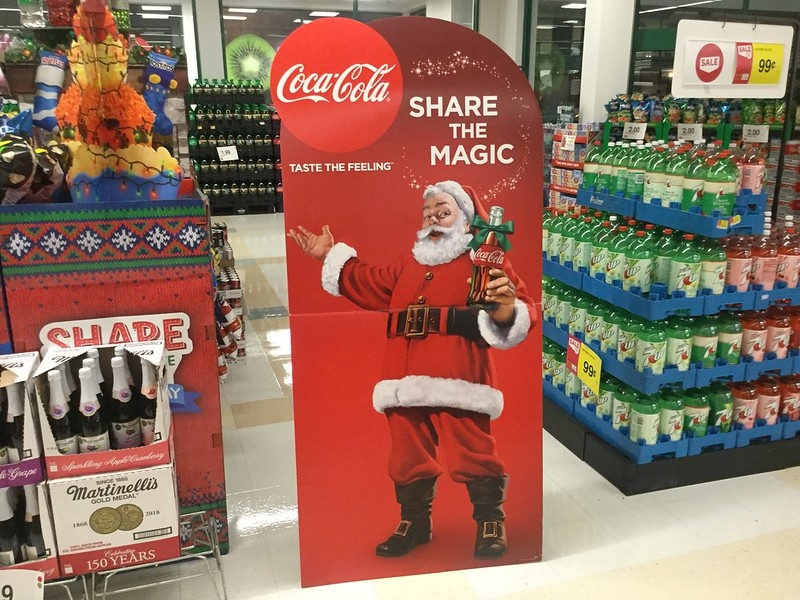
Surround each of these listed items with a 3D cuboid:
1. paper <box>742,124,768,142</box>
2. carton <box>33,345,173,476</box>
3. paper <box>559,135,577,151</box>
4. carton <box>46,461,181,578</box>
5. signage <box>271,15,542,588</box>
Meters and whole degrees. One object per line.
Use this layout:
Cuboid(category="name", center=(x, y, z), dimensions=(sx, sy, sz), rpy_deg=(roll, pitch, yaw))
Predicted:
Cuboid(category="paper", center=(2.712, -1.283, 4.806), dimensions=(0.008, 0.124, 0.194), rpy_deg=(-5, 13, -27))
Cuboid(category="carton", center=(-1.229, 0.490, 2.526), dimensions=(0.473, 0.562, 0.323), rpy_deg=(-2, 10, -26))
Cuboid(category="paper", center=(2.014, -1.902, 7.548), dimensions=(0.038, 0.163, 0.240), rpy_deg=(9, 8, -18))
Cuboid(category="carton", center=(-1.138, 0.845, 2.443), dimensions=(0.523, 0.402, 0.233), rpy_deg=(-3, 5, -14))
Cuboid(category="signage", center=(0.071, 0.056, 2.914), dimensions=(1.241, 2.575, 0.496), rpy_deg=(-4, 18, -6))
